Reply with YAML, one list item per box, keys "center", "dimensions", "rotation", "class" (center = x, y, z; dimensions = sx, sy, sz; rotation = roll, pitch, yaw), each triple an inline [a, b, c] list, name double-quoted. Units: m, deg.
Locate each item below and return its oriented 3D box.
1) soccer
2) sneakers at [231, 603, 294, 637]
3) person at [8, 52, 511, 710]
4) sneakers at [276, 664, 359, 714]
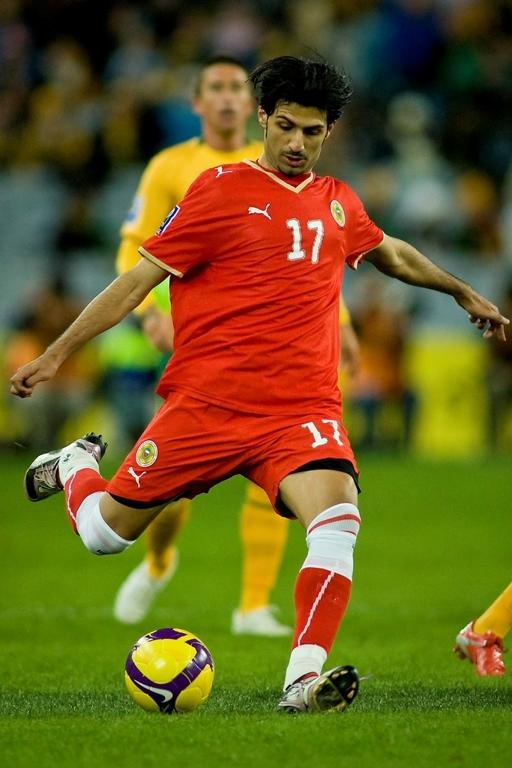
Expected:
- center: [-0.241, 0.781, 2.229]
  dimensions: [0.258, 0.231, 0.236]
  rotation: [1, 3, -16]
  class: "soccer"
- center: [0.010, 1.137, 3.956]
  dimensions: [0.342, 0.122, 0.124]
  rotation: [-6, -9, 36]
  class: "sneakers"
- center: [-0.137, -0.102, 2.483]
  dimensions: [1.150, 1.704, 0.917]
  rotation: [1, 4, 15]
  class: "person"
- center: [0.108, 0.749, 2.039]
  dimensions: [0.267, 0.084, 0.125]
  rotation: [-22, 0, 40]
  class: "sneakers"
